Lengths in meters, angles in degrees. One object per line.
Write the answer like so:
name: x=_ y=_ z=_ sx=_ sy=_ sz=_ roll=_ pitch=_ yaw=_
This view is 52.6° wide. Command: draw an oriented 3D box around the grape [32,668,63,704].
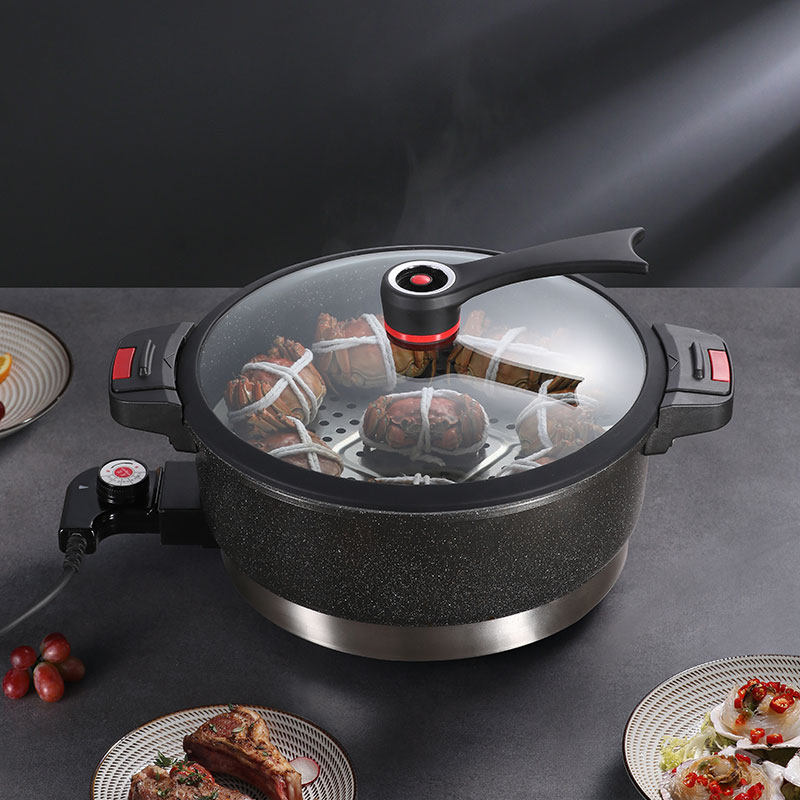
grape: x=-0.278 y=0.221 z=0.639 sx=0.021 sy=0.016 sz=0.031 roll=-7 pitch=45 yaw=-30

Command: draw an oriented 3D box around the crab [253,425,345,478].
crab: x=-0.068 y=0.035 z=0.547 sx=0.048 sy=0.012 sz=0.033 roll=20 pitch=24 yaw=3

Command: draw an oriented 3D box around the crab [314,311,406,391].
crab: x=-0.033 y=-0.034 z=0.601 sx=0.062 sy=0.030 sz=0.057 roll=-9 pitch=59 yaw=11

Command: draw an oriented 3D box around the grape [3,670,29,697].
grape: x=-0.302 y=0.224 z=0.644 sx=0.020 sy=0.020 sz=0.018 roll=3 pitch=-9 yaw=-5

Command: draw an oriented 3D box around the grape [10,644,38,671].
grape: x=-0.302 y=0.206 z=0.652 sx=0.023 sy=0.018 sz=0.012 roll=9 pitch=-9 yaw=7

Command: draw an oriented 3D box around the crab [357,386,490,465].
crab: x=0.019 y=0.014 z=0.567 sx=0.094 sy=0.031 sz=0.048 roll=1 pitch=40 yaw=9

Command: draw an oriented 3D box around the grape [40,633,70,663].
grape: x=-0.278 y=0.198 z=0.646 sx=0.025 sy=0.022 sz=0.019 roll=16 pitch=67 yaw=-23

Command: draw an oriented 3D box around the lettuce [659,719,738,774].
lettuce: x=0.197 y=0.235 z=0.546 sx=0.038 sy=0.011 sz=0.030 roll=-7 pitch=20 yaw=-2

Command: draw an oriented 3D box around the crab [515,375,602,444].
crab: x=0.112 y=0.011 z=0.556 sx=0.056 sy=0.030 sz=0.055 roll=13 pitch=30 yaw=21

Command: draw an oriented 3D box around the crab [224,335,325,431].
crab: x=-0.071 y=-0.014 z=0.613 sx=0.068 sy=0.042 sz=0.085 roll=40 pitch=31 yaw=30

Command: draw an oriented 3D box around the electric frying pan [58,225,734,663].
electric frying pan: x=-0.023 y=-0.003 z=0.634 sx=0.505 sy=0.216 sz=0.318 roll=-3 pitch=42 yaw=-3

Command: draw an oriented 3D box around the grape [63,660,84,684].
grape: x=-0.262 y=0.218 z=0.655 sx=0.021 sy=0.016 sz=0.011 roll=6 pitch=8 yaw=-2
